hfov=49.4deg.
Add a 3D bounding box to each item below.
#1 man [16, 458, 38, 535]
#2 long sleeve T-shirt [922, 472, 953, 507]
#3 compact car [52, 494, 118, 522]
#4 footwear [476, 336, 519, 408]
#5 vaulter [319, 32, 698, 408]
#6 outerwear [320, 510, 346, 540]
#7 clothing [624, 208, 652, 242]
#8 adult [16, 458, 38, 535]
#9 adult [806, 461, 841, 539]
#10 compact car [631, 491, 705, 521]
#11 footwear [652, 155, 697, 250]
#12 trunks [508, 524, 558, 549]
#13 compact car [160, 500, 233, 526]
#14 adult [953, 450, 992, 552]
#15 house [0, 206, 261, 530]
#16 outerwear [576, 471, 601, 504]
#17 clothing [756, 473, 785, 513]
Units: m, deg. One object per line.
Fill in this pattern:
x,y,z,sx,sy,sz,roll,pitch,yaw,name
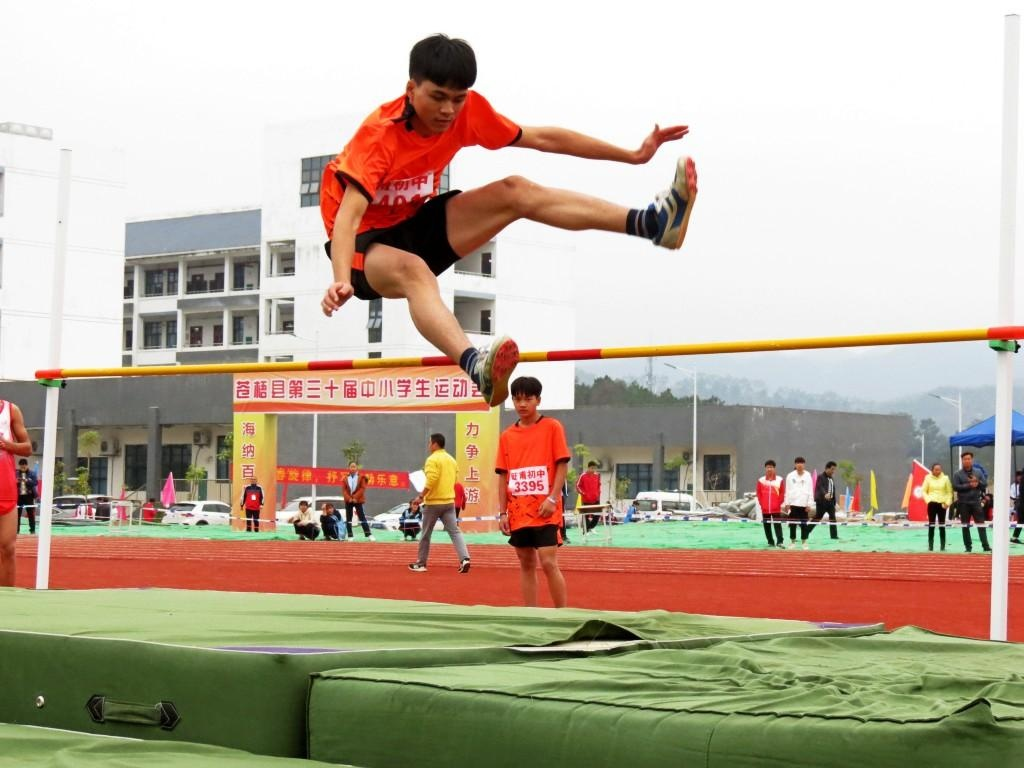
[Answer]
-9.062,2.079,20.599,0.462,1.367,0.421,0,-1,-7,man
6.058,1.517,15.855,0.412,0.487,0.542,-4,-6,20,long sleeve T-shirt
-11.104,3.220,28.652,1.344,0.633,2.491,1,-6,-23,compact car
-0.068,-0.039,4.111,0.112,0.287,0.131,-14,35,-44,footwear
-0.075,-0.716,4.197,1.531,0.921,1.697,-12,28,-14,vaulter
-3.394,2.671,20.953,0.462,0.345,0.792,-2,7,-6,outerwear
0.463,-0.600,4.139,0.058,0.122,0.123,5,-9,-45,clothing
-9.076,2.090,20.631,0.469,1.386,0.436,0,-3,-7,adult
5.209,1.907,18.292,0.533,1.203,0.700,1,2,-18,adult
4.887,3.816,34.657,2.180,1.094,1.240,-2,2,-44,compact car
0.598,-0.637,3.990,0.133,0.297,0.374,-1,-6,-6,footwear
0.120,0.903,6.605,0.319,0.141,0.198,-3,-6,15,trunks
-8.216,3.412,29.217,1.355,0.615,1.688,-6,-7,38,compact car
6.250,1.620,15.088,0.465,1.348,0.432,-6,-8,36,adult
-11.863,-0.614,34.830,10.616,10.396,5.647,-3,-8,22,house
1.321,1.797,19.288,0.382,0.575,0.669,-2,-6,1,outerwear
4.178,1.829,17.911,0.411,0.623,0.829,-3,-6,12,clothing
